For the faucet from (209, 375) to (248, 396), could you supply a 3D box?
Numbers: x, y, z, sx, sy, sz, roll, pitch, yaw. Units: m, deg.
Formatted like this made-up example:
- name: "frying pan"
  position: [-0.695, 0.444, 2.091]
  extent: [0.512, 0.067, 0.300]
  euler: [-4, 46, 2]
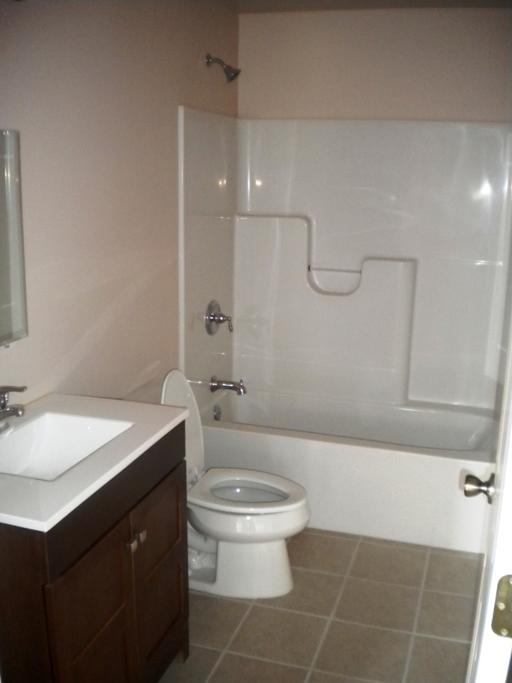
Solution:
- name: "faucet"
  position: [-0.140, 0.232, 2.779]
  extent: [0.170, 0.110, 0.098]
  euler: [3, 4, 23]

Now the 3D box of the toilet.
- name: "toilet"
  position: [-0.092, 0.528, 2.033]
  extent: [0.494, 0.834, 0.385]
  euler: [2, 10, 11]
